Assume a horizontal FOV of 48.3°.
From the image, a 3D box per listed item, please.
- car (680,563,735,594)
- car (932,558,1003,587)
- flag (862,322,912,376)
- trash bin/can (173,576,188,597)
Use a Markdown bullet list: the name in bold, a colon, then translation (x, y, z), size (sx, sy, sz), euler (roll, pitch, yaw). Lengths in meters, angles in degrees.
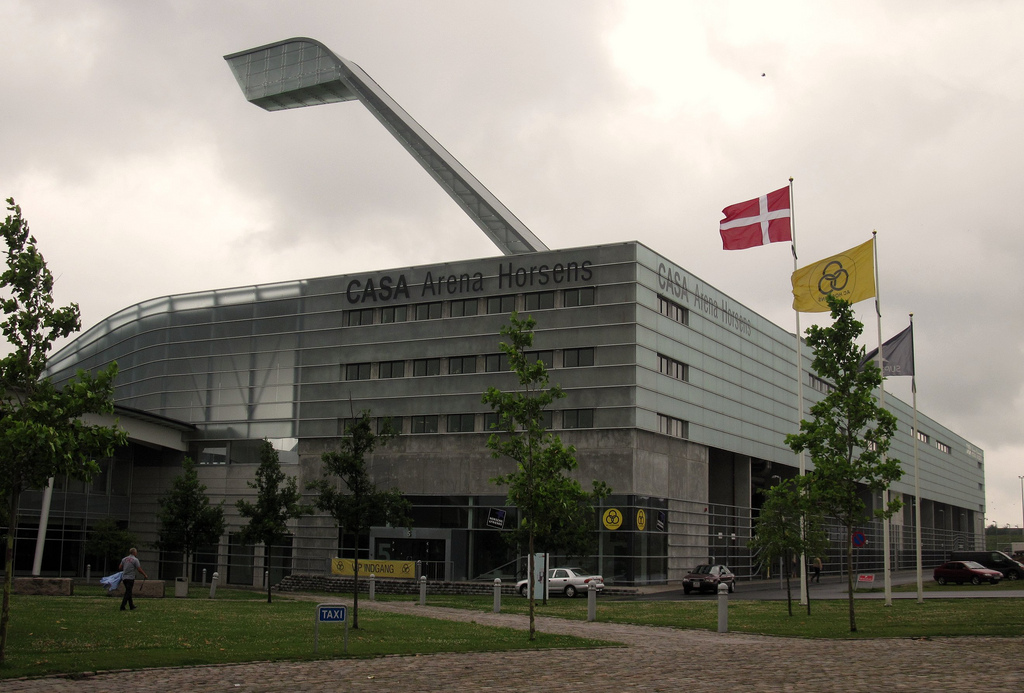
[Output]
- **car**: translation (11.681, 13.827, 67.657), size (2.814, 1.840, 1.802), euler (0, -18, 4)
- **car**: translation (29.418, 14.674, 74.301), size (2.388, 1.967, 4.409), euler (11, -20, -25)
- **flag**: translation (19.649, 0.374, 61.047), size (3.588, 0.251, 3.736), euler (2, -45, 25)
- **trash bin/can**: translation (-17.297, 12.667, 59.923), size (0.557, 0.980, 1.237), euler (5, -18, -10)
